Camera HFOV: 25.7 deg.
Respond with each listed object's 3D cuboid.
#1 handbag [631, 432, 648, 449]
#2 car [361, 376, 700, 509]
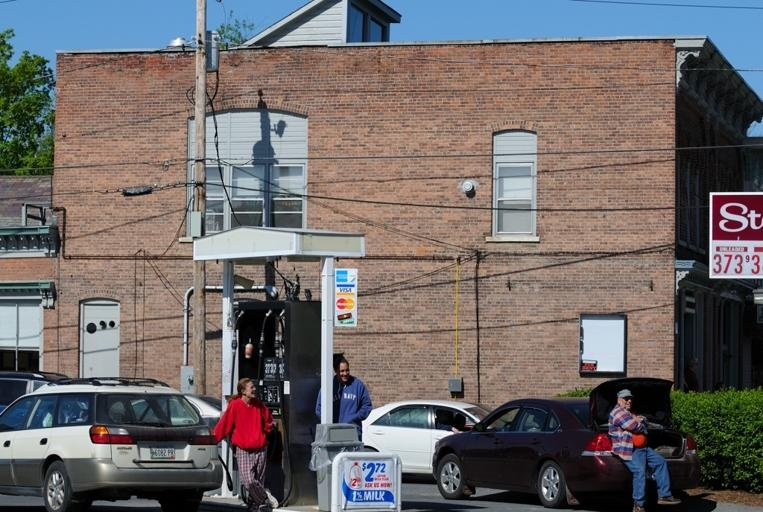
[{"bbox_3d":[6.151,4.317,39.617,0.379,0.356,0.156,3,-6,-33],"label":"handbag"},{"bbox_3d":[4.271,4.579,41.331,2.933,2.355,5.682,4,-3,-42],"label":"car"}]
